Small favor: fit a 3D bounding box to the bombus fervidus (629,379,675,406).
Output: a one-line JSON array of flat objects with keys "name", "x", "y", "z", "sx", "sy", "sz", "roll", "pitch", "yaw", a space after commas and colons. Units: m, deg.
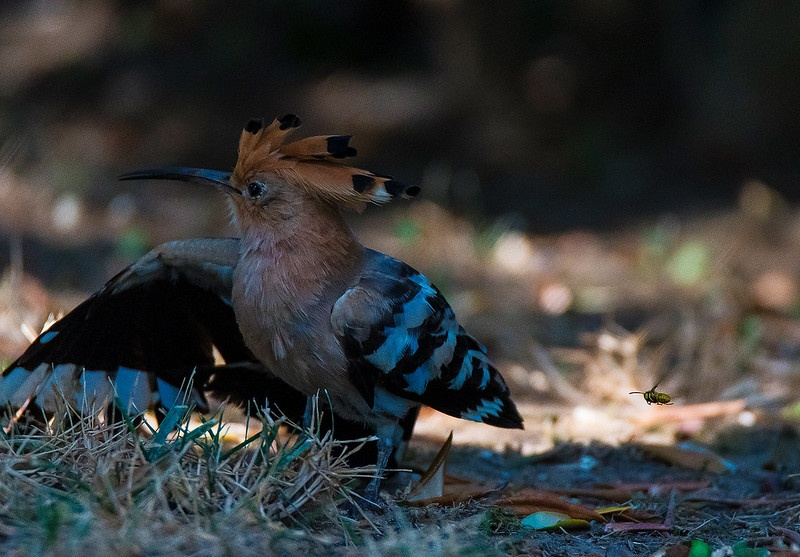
[{"name": "bombus fervidus", "x": 1.377, "y": 0.628, "z": 5.415, "sx": 0.272, "sy": 0.098, "sz": 0.206, "roll": 6, "pitch": -19, "yaw": -33}]
